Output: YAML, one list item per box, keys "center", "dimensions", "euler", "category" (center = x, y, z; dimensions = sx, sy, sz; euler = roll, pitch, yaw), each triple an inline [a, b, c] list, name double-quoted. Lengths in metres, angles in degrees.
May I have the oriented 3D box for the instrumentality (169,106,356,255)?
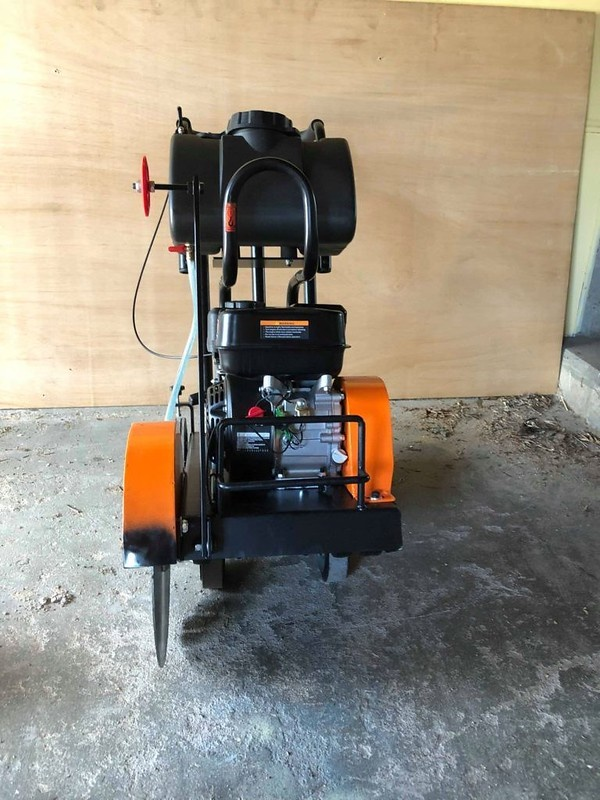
- center: [-0.128, -0.644, 1.839]
  dimensions: [0.535, 0.447, 0.426]
  euler: [-2, 14, -7]
  category: "instrumentality"

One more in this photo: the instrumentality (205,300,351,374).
- center: [-0.048, -0.139, 1.457]
  dimensions: [0.314, 0.173, 0.084]
  euler: [1, 15, -2]
  category: "instrumentality"

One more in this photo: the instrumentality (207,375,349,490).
- center: [-0.055, 0.077, 1.513]
  dimensions: [0.280, 0.292, 0.293]
  euler: [-2, 10, -15]
  category: "instrumentality"

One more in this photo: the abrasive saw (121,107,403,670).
- center: [-0.121, -0.105, 1.624]
  dimensions: [0.710, 1.338, 0.893]
  euler: [-2, 16, -14]
  category: "abrasive saw"
